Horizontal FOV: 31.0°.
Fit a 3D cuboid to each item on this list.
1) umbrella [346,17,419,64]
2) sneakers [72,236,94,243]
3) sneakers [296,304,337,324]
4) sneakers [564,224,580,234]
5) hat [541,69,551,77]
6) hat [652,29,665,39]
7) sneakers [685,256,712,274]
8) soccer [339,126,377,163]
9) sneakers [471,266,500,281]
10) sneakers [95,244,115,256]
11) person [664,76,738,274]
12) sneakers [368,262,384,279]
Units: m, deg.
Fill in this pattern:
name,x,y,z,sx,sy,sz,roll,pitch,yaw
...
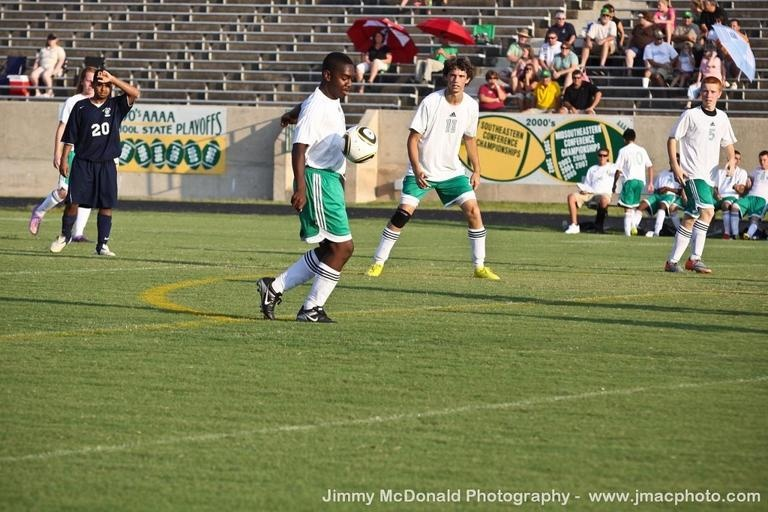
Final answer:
name,x,y,z,sx,sy,sz,roll,pitch,yaw
umbrella,0.023,-5.808,36.834,1.407,0.643,1.353,23,-22,19
sneakers,-4.995,-0.293,23.045,0.335,0.140,0.114,2,50,-17
sneakers,-0.865,0.740,17.349,0.531,0.241,0.185,3,3,-7
sneakers,3.820,-0.545,28.249,0.130,0.152,0.386,-1,-2,37
hat,3.893,-4.420,33.513,0.281,0.205,0.463,5,11,12
hat,6.801,-5.539,34.431,0.258,0.188,0.453,4,8,12
sneakers,4.793,0.145,21.515,0.531,0.278,0.185,4,12,16
soccer,-0.341,-1.445,17.336,0.424,0.444,0.450,21,17,32
sneakers,1.488,0.250,20.458,0.454,0.193,0.158,4,16,3
sneakers,-4.354,-0.087,21.551,0.372,0.228,0.130,0,15,-12
person,4.768,-1.216,21.186,0.947,3.038,0.650,3,7,2
sneakers,-0.118,0.201,20.499,0.138,0.111,0.245,-3,7,11
